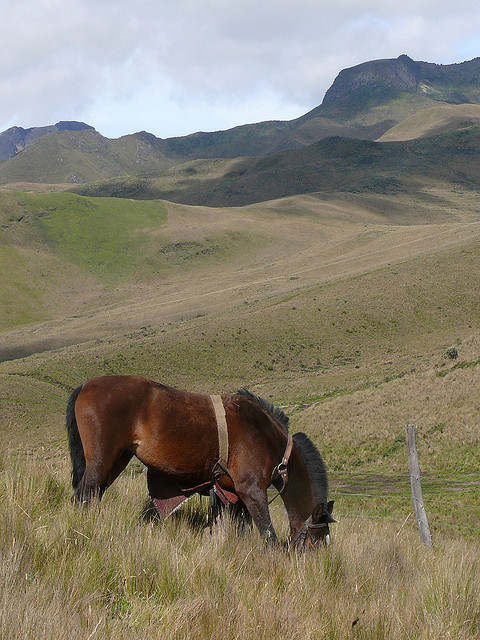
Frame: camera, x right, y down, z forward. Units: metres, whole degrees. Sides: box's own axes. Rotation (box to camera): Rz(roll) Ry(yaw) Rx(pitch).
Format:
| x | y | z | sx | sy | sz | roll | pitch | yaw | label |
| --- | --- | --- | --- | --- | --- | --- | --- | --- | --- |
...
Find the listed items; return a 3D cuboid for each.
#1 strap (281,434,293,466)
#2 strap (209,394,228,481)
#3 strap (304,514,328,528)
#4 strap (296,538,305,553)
| x | y | z | sx | sy | sz | roll | pitch | yaw | label |
| --- | --- | --- | --- | --- | --- | --- | --- | --- | --- |
| 0.441 | 1.156 | 7.293 | 0.110 | 0.191 | 0.042 | -17 | -40 | 43 | strap |
| -0.184 | 1.018 | 7.104 | 0.212 | 0.558 | 0.261 | 8 | 17 | 34 | strap |
| 0.633 | 1.657 | 6.807 | 0.186 | 0.100 | 0.145 | 11 | -1 | 24 | strap |
| 0.507 | 1.825 | 6.674 | 0.031 | 0.128 | 0.032 | 25 | -27 | 11 | strap |
